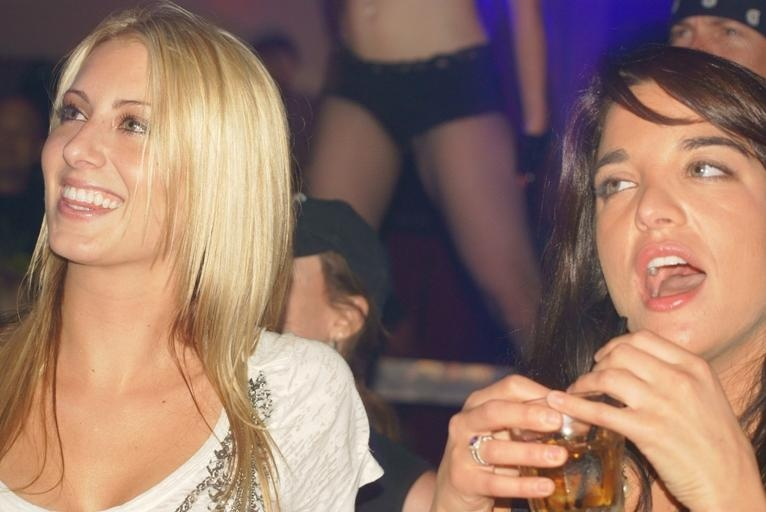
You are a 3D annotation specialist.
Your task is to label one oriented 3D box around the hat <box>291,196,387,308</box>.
[{"bbox_3d":[-0.168,-0.064,4.290,0.184,0.469,0.331,-47,10,2],"label":"hat"}]
